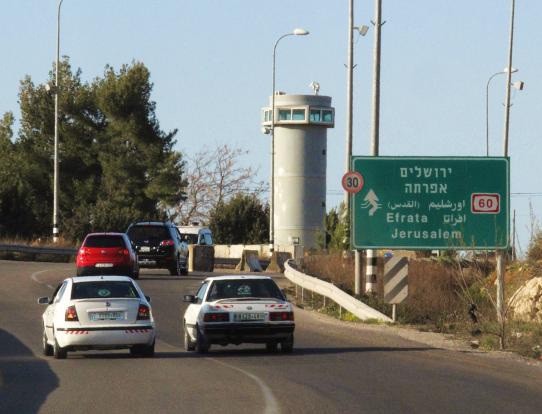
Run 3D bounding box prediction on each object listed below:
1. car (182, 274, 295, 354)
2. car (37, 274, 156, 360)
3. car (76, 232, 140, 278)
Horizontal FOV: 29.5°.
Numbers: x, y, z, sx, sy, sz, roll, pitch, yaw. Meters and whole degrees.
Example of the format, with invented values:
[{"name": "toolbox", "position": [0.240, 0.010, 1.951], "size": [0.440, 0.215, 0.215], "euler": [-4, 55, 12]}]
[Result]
[{"name": "car", "position": [-0.889, 2.809, 27.307], "size": [2.107, 2.355, 3.922], "euler": [0, -4, -13]}, {"name": "car", "position": [-4.440, 2.948, 26.589], "size": [2.086, 2.403, 3.596], "euler": [1, -2, -11]}, {"name": "car", "position": [-6.132, 1.791, 38.326], "size": [2.004, 1.651, 0.774], "euler": [1, 0, -16]}]
